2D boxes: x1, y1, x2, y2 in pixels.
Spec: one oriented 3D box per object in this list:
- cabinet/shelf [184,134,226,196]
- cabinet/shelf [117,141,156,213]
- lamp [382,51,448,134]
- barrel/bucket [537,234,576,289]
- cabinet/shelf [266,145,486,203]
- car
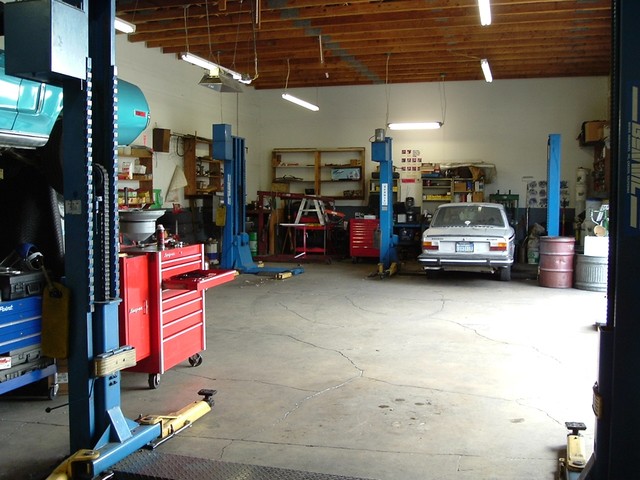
[{"bbox_3d":[-2.742,-1.843,12.296,0.256,0.869,0.971,1,11,23],"label":"cabinet/shelf"},{"bbox_3d":[-3.627,-1.213,9.766,0.398,1.098,1.178,3,7,22],"label":"cabinet/shelf"},{"bbox_3d":[2.240,-3.560,12.451,1.733,1.805,1.762,14,26,38],"label":"lamp"},{"bbox_3d":[4.016,0.372,9.000,0.582,0.846,0.596,0,3,0],"label":"barrel/bucket"},{"bbox_3d":[1.326,-1.815,14.534,5.962,1.525,0.820,2,6,18],"label":"cabinet/shelf"},{"bbox_3d":[2.541,0.077,9.125,1.646,1.165,2.853,0,1,14],"label":"car"}]
